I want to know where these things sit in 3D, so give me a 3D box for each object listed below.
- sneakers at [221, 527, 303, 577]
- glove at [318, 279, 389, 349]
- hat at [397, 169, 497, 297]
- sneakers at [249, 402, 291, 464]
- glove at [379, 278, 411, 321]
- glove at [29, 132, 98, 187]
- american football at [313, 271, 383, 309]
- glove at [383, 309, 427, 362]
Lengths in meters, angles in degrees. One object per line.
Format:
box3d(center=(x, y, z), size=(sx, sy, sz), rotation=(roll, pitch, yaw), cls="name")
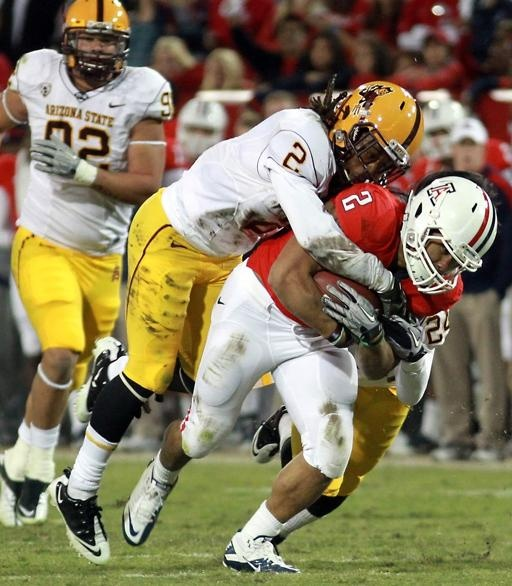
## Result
box3d(center=(-0.001, 0.802, 2.395), size=(0.298, 0.111, 0.089), rotation=(6, 0, 11), cls="sneakers")
box3d(center=(0.311, 0.058, 2.269), size=(0.145, 0.231, 0.075), rotation=(-5, 44, 43), cls="glove")
box3d(center=(0.558, -0.177, 2.327), size=(0.304, 0.230, 0.235), rotation=(27, 18, 12), cls="hat")
box3d(center=(0.099, 0.561, 3.002), size=(0.099, 0.137, 0.299), rotation=(53, 29, -7), cls="sneakers")
box3d(center=(0.434, 0.025, 2.323), size=(0.075, 0.132, 0.077), rotation=(-17, 27, 22), cls="glove")
box3d(center=(-0.721, -0.487, 2.893), size=(0.270, 0.143, 0.091), rotation=(17, -15, 18), cls="glove")
box3d(center=(0.275, -0.014, 2.277), size=(0.183, 0.037, 0.103), rotation=(24, 12, 16), cls="american football")
box3d(center=(0.472, 0.137, 2.366), size=(0.163, 0.076, 0.111), rotation=(44, 41, -21), cls="glove")
